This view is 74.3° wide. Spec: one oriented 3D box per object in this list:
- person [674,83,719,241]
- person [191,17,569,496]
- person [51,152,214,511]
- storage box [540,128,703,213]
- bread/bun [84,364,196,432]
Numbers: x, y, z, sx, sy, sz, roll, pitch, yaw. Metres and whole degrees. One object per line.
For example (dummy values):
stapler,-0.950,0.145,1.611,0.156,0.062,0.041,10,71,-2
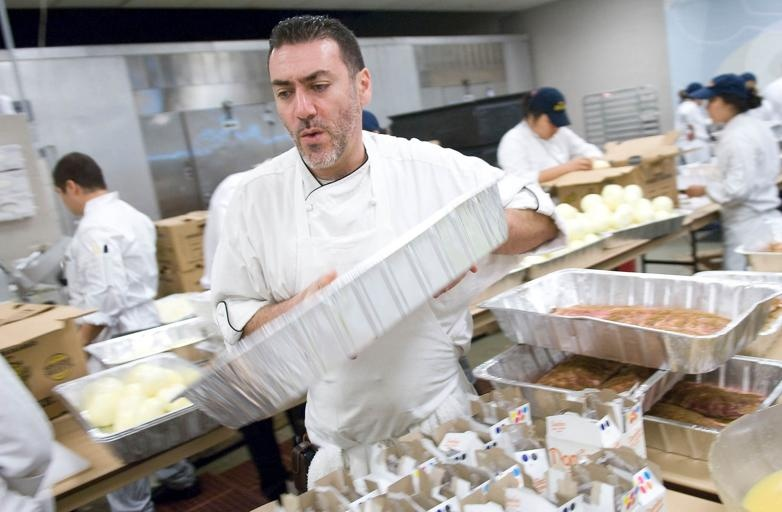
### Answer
person,3.898,-1.374,6.782,0.622,1.755,0.595,18,38,39
person,-0.059,-0.030,1.583,0.989,1.369,0.548,-13,17,-17
person,-1.752,0.070,4.012,1.058,0.871,2.160,15,-6,-1
storage box,1.565,-0.428,3.613,0.867,0.282,0.633,-23,19,-39
bread/bun,-0.970,0.556,1.991,0.386,0.132,0.455,-2,10,31
